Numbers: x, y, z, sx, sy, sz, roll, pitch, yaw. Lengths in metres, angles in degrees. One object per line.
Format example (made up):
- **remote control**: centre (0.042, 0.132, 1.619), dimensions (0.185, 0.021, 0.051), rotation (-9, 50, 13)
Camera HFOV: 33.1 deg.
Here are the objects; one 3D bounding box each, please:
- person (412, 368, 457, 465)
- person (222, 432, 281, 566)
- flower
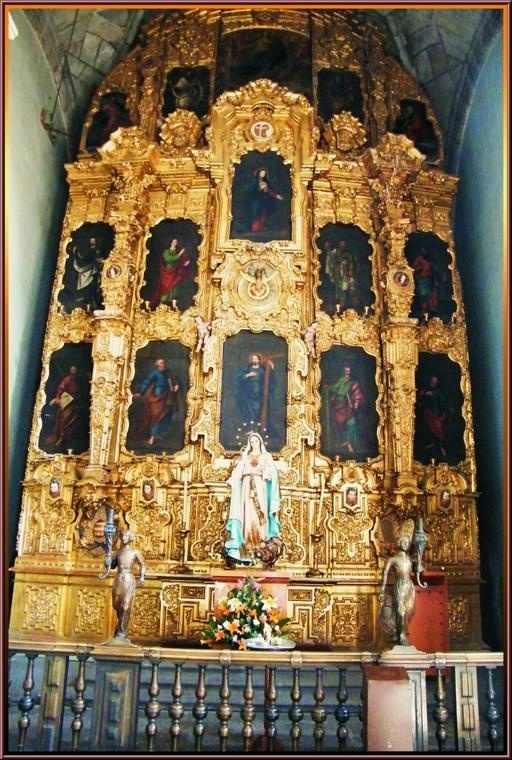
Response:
- **person**: centre (2.571, 0.545, 12.465), dimensions (0.559, 1.345, 0.132), rotation (4, -25, -2)
- **person**: centre (-0.032, 1.499, 10.907), dimensions (0.654, 1.527, 0.570), rotation (-2, -25, 10)
- **flower**: centre (-0.096, 2.385, 8.877), dimensions (0.844, 0.810, 0.746), rotation (3, -24, 0)
